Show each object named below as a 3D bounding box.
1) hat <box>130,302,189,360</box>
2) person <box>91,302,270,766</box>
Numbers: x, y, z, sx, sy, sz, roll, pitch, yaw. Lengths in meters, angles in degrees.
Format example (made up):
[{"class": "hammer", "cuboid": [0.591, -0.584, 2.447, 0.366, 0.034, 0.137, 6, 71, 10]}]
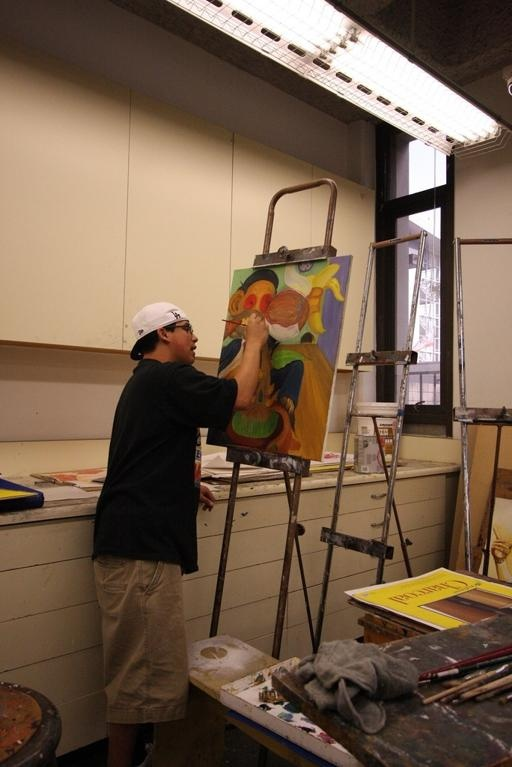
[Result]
[{"class": "hat", "cuboid": [-0.271, -0.150, 1.679, 0.172, 0.094, 0.124, -35, 3, 0]}, {"class": "person", "cuboid": [-0.233, 0.387, 1.555, 0.392, 1.127, 0.419, 7, 0, -2]}]
